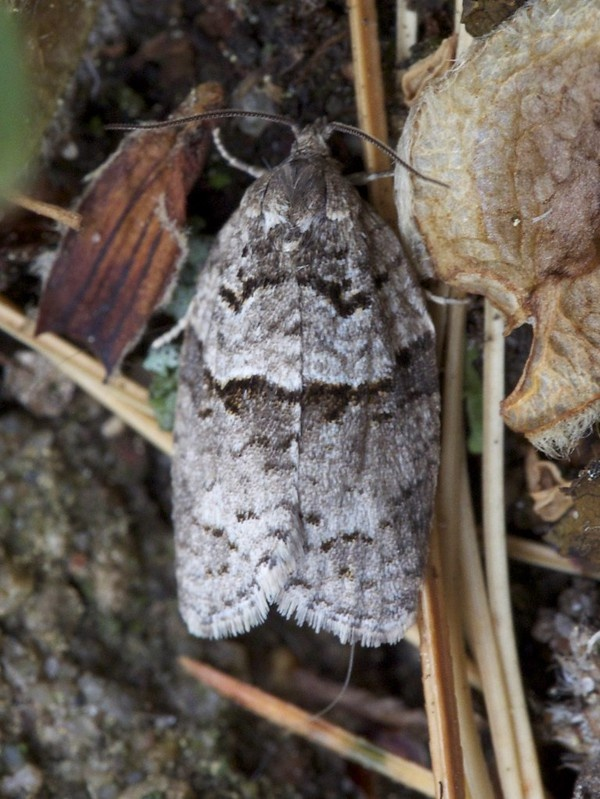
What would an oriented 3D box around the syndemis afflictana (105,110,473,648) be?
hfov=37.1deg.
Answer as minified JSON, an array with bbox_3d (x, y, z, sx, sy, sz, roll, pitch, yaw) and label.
[{"bbox_3d":[0.005,0.041,1.710,0.805,0.263,0.986,2,96,10],"label":"syndemis afflictana"}]
